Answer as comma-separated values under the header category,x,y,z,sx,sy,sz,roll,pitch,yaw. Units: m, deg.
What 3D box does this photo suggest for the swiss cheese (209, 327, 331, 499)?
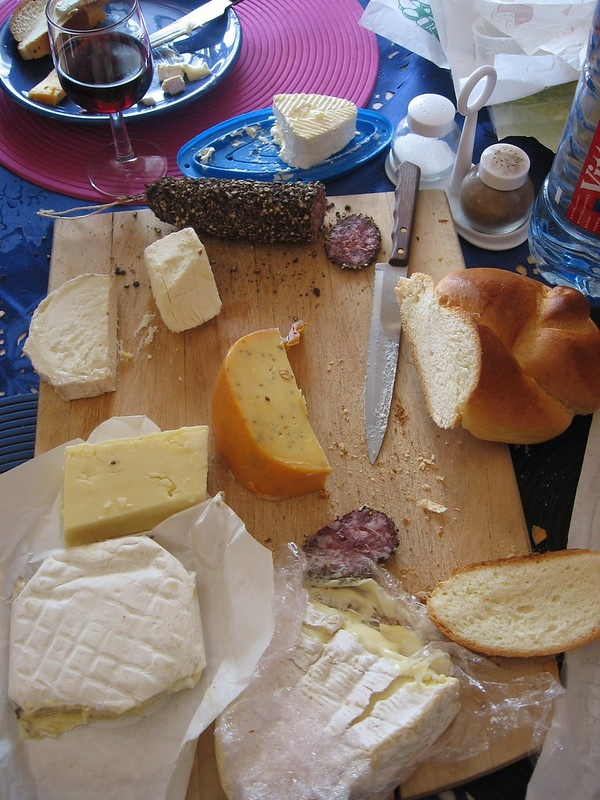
category,x,y,z,sx,sy,sz,roll,pitch,yaw
swiss cheese,-0.082,0.035,1.501,0.194,0.165,0.324,-8,64,-20

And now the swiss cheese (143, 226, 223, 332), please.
category,x,y,z,sx,sy,sz,roll,pitch,yaw
swiss cheese,-0.248,-0.252,1.571,0.176,0.067,0.216,-19,97,-3

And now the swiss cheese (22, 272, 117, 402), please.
category,x,y,z,sx,sy,sz,roll,pitch,yaw
swiss cheese,-0.477,-0.126,1.570,0.246,0.091,0.325,-8,63,-3

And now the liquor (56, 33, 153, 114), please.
category,x,y,z,sx,sy,sz,roll,pitch,yaw
liquor,-0.421,-0.718,1.616,0.160,0.153,0.152,-11,69,-4

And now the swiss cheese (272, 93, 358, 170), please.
category,x,y,z,sx,sy,sz,roll,pitch,yaw
swiss cheese,0.034,-0.625,1.798,0.198,0.064,0.199,20,52,19

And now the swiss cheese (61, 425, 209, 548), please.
category,x,y,z,sx,sy,sz,roll,pitch,yaw
swiss cheese,-0.401,0.155,1.557,0.299,0.429,0.088,36,73,-8
